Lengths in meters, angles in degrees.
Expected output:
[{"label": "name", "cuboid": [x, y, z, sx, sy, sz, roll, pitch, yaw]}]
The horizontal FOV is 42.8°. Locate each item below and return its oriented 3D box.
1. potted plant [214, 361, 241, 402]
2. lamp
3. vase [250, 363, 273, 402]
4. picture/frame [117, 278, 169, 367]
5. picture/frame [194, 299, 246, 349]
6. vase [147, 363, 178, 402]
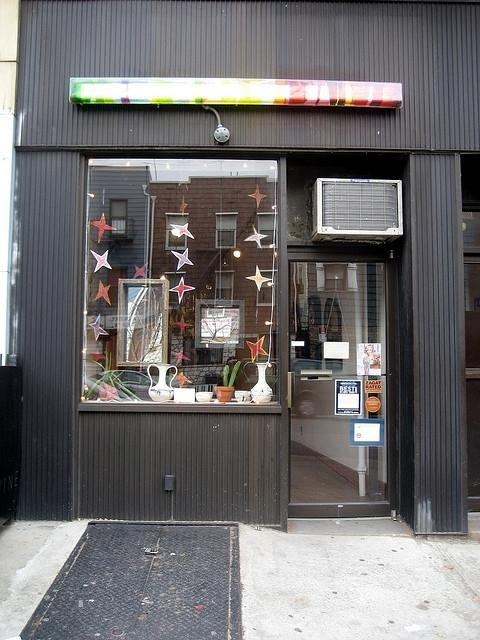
[{"label": "potted plant", "cuboid": [-0.090, 0.484, 4.769, 0.218, 0.487, 0.188, -7, -15, 32]}, {"label": "lamp", "cuboid": [-0.025, -1.695, 4.608, 2.482, 0.230, 0.065, 2, 4, -1]}, {"label": "vase", "cuboid": [0.174, 0.491, 4.793, 0.173, 0.322, 0.208, -1, -6, 7]}, {"label": "picture/frame", "cuboid": [-0.765, 0.052, 4.826, 0.466, 1.180, 0.112, 0, -4, 1]}, {"label": "picture/frame", "cuboid": [-0.164, 0.032, 4.818, 0.370, 0.353, 0.115, 1, 4, -11]}, {"label": "vase", "cuboid": [-0.590, 0.526, 4.883, 0.249, 0.416, 0.219, 2, -14, -9]}]
